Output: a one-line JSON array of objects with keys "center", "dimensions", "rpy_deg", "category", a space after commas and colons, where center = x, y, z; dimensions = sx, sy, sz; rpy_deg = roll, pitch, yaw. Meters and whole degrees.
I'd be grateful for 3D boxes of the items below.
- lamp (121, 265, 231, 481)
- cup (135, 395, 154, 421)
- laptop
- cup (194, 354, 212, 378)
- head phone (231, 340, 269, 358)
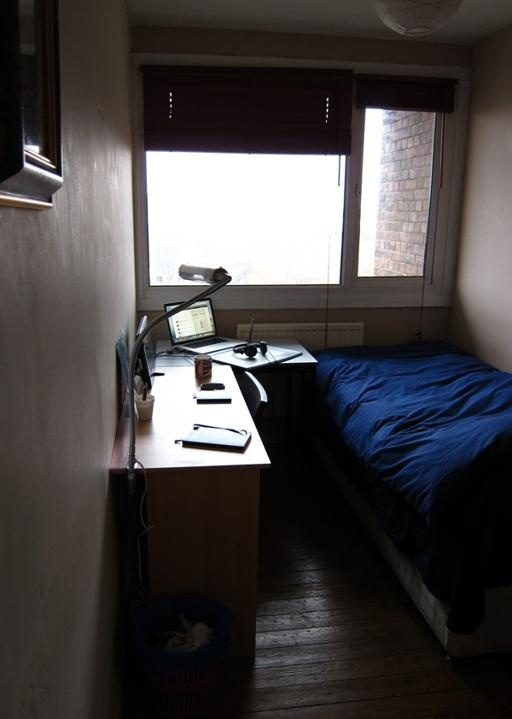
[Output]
[{"center": [-0.373, 0.048, 2.460], "dimensions": [0.445, 1.402, 0.345], "rpy_deg": [-3, 23, -9], "category": "lamp"}, {"center": [-0.446, 0.188, 2.173], "dimensions": [0.069, 0.106, 0.083], "rpy_deg": [-1, 4, -6], "category": "cup"}, {"center": [-0.337, -0.172, 3.348], "dimensions": [0.317, 0.343, 0.396], "rpy_deg": [16, 24, 39], "category": "laptop"}, {"center": [-0.271, 0.036, 2.771], "dimensions": [0.070, 0.122, 0.103], "rpy_deg": [0, 7, -5], "category": "cup"}, {"center": [-0.040, -0.058, 3.184], "dimensions": [0.124, 0.061, 0.118], "rpy_deg": [-9, 7, 45], "category": "head phone"}]
